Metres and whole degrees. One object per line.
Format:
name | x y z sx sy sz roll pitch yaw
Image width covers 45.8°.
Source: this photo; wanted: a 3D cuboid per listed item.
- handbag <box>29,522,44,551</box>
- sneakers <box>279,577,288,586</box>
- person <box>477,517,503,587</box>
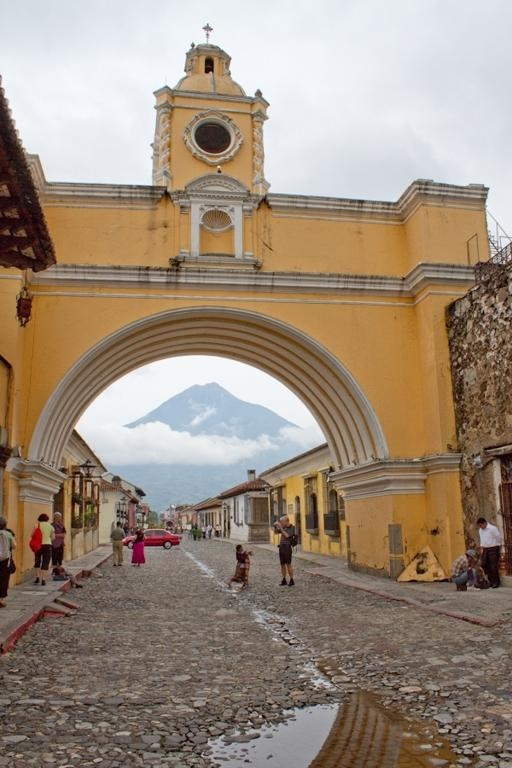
handbag | -3.605 2.521 9.993 0.179 0.467 0.292 3 -13 -18
sneakers | 0.531 3.617 11.197 0.218 0.209 0.091 -2 -13 9
person | 3.630 2.583 9.367 0.331 1.049 0.939 -5 -13 19
